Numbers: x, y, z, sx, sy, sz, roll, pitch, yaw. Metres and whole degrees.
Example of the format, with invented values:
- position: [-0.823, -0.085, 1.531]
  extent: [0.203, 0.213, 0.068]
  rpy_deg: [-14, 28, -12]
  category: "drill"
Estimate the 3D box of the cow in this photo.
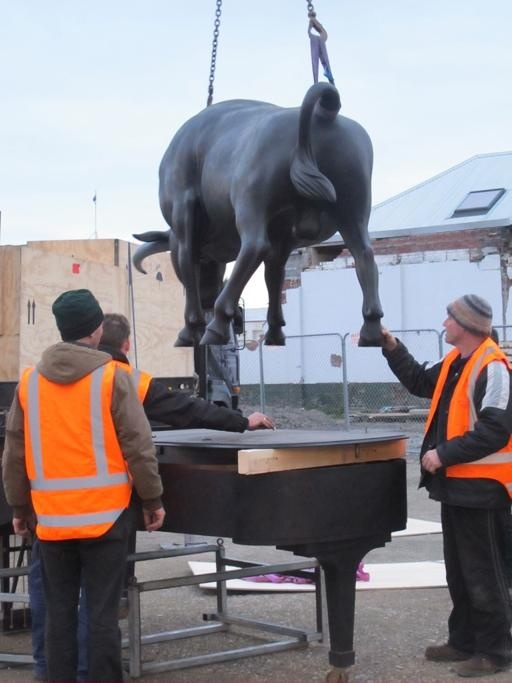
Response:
- position: [-0.057, -0.493, 5.392]
  extent: [0.581, 1.077, 1.710]
  rpy_deg: [5, -5, -25]
  category: "cow"
